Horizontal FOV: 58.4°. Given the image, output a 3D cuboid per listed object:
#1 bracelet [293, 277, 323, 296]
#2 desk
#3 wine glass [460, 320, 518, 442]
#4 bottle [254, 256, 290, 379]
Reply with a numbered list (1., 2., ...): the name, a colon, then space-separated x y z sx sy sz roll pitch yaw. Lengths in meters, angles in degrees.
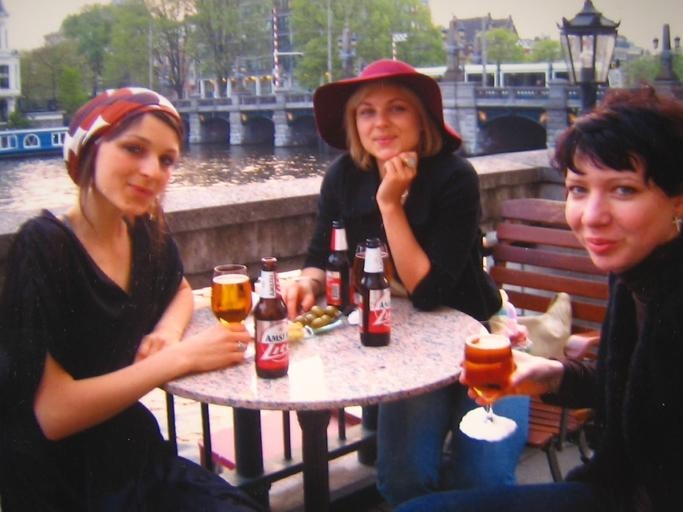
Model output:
1. bracelet: -0.129 0.113 2.434 0.082 0.028 0.062 17 2 -4
2. desk: 0.018 0.346 1.820 0.731 0.511 0.739 -1 1 -13
3. wine glass: 0.403 0.349 1.690 0.184 0.242 0.172 -6 4 -39
4. bottle: -0.195 0.171 1.758 0.122 0.356 0.121 -3 10 0
